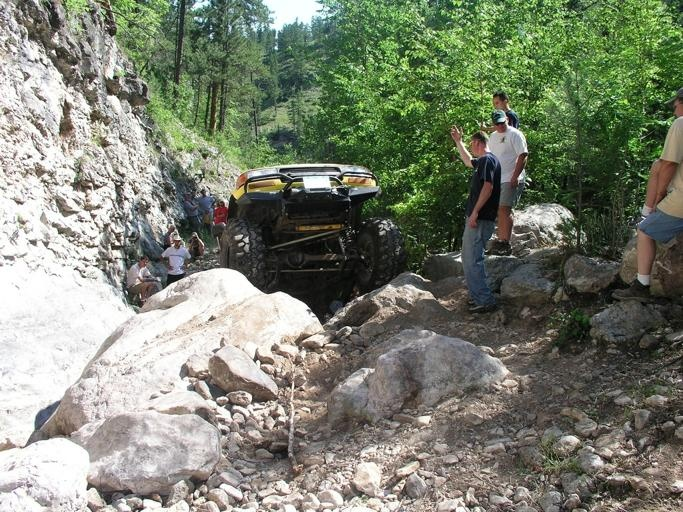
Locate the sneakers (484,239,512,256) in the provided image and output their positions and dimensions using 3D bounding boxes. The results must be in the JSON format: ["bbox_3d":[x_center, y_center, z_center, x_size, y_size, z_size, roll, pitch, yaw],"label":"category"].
[{"bbox_3d":[2.269,-0.099,9.204,0.258,0.109,0.266,4,12,40],"label":"sneakers"}]

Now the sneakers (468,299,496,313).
[{"bbox_3d":[1.786,0.635,8.202,0.357,0.179,0.137,4,7,17],"label":"sneakers"}]

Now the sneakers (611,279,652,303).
[{"bbox_3d":[3.144,0.385,6.912,0.397,0.263,0.185,4,3,35],"label":"sneakers"}]

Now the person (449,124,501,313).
[{"bbox_3d":[1.809,-0.475,8.329,0.447,2.186,1.099,3,17,10],"label":"person"}]

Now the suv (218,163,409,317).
[{"bbox_3d":[-0.488,-0.400,10.510,1.857,1.887,3.481,-1,-6,-10],"label":"suv"}]

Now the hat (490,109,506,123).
[{"bbox_3d":[2.244,-1.969,9.125,0.202,0.185,0.239,4,17,12],"label":"hat"}]
